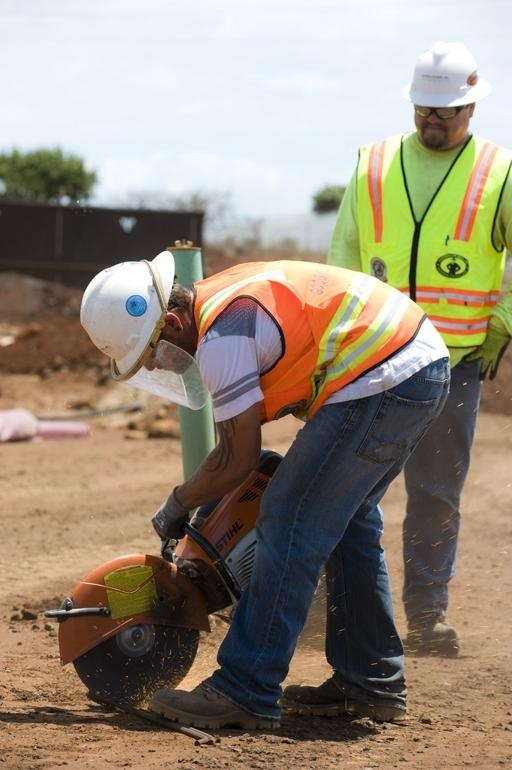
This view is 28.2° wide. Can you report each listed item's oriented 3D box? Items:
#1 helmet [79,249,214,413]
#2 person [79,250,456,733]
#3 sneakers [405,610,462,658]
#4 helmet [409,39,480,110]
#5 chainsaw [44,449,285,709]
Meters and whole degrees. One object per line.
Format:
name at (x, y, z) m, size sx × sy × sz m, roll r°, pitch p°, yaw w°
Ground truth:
helmet at (-0.317, -0.172, 2.990) m, size 0.478 × 0.440 × 0.349 m, roll 13°, pitch -7°, yaw -17°
person at (0.016, 0.330, 2.928) m, size 1.079 × 1.374 × 0.486 m, roll 6°, pitch 7°, yaw -26°
sneakers at (0.665, 0.945, 3.932) m, size 0.232 × 0.140 × 0.270 m, roll -2°, pitch 9°, yaw 10°
helmet at (0.713, -1.145, 3.773) m, size 0.273 × 0.277 × 0.187 m, roll 9°, pitch 5°, yaw 4°
chainsaw at (-0.100, 0.581, 3.021) m, size 0.309 × 1.089 × 0.477 m, roll 28°, pitch 31°, yaw -46°
